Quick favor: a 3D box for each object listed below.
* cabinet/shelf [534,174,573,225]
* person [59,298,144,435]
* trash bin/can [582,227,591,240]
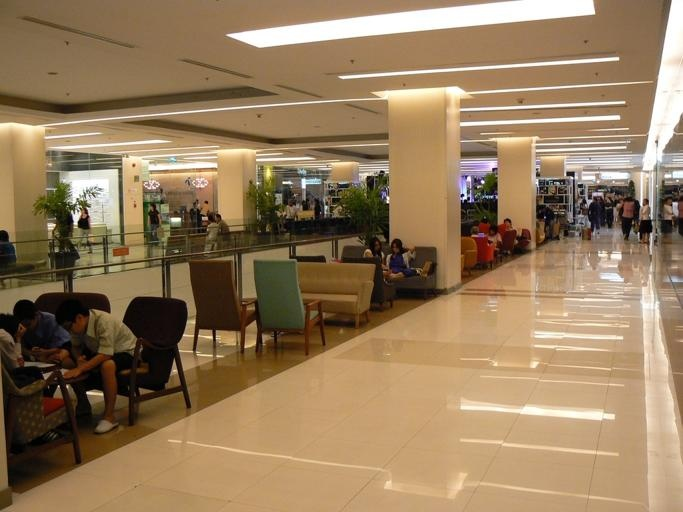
[{"bbox_3d":[11.997,-3.406,28.013,2.964,3.354,2.360,2,4,26],"label":"cabinet/shelf"},{"bbox_3d":[-2.303,1.003,4.761,0.673,1.232,0.577,-4,6,-33],"label":"person"},{"bbox_3d":[11.859,-1.090,24.287,0.540,0.589,0.307,-1,-2,2],"label":"trash bin/can"}]
